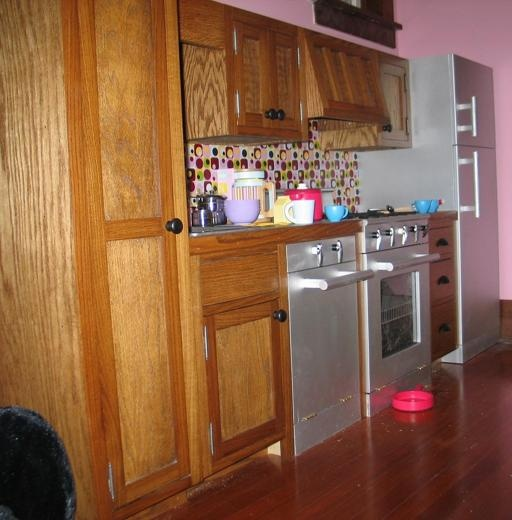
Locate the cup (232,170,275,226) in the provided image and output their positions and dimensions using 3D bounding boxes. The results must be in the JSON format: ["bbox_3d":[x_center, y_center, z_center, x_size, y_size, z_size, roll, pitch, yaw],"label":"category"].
[{"bbox_3d":[-0.001,-0.321,2.379,0.274,0.281,0.177,-2,5,-33],"label":"cup"}]

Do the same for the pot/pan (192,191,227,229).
[{"bbox_3d":[-0.203,-0.216,2.103,0.151,0.151,0.147,1,5,23],"label":"pot/pan"}]

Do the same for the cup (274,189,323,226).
[{"bbox_3d":[0.217,-0.252,2.301,0.159,0.181,0.268,7,16,34],"label":"cup"}]

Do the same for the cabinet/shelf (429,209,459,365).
[{"bbox_3d":[1.170,0.145,3.039,0.110,0.863,0.420,-4,1,35],"label":"cabinet/shelf"}]

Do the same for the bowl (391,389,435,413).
[{"bbox_3d":[0.788,0.714,2.479,0.202,0.096,0.179,-4,1,18],"label":"bowl"}]

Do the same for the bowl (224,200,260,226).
[{"bbox_3d":[-0.062,-0.199,2.139,0.120,0.085,0.116,-1,3,0],"label":"bowl"}]

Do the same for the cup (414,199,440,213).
[{"bbox_3d":[1.046,-0.326,2.979,0.116,0.055,0.095,1,7,6],"label":"cup"}]

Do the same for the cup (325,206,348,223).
[{"bbox_3d":[0.374,-0.216,2.294,0.097,0.081,0.144,-4,1,5],"label":"cup"}]
